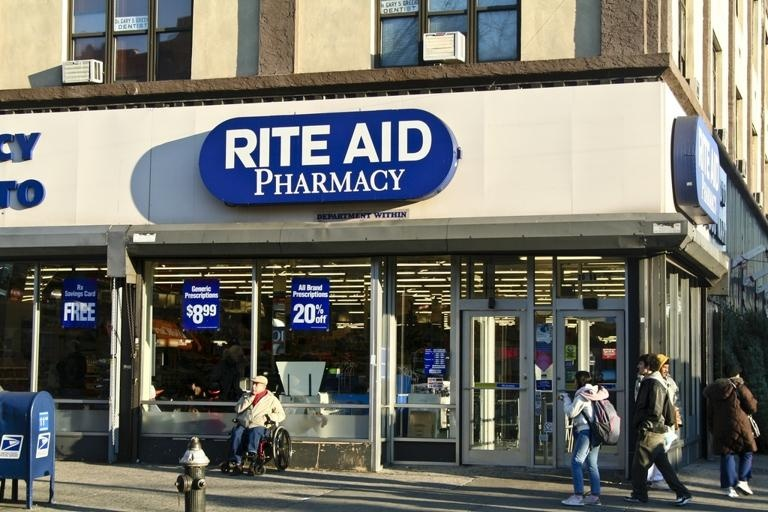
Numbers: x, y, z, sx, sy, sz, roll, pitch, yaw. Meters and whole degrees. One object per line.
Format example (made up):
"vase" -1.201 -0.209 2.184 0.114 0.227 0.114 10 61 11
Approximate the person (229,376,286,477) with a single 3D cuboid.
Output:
"person" -2.556 3.263 26.291 0.996 1.849 0.314 0 -8 -8

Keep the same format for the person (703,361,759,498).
"person" 6.694 3.271 25.999 0.775 2.433 0.994 -1 -4 20

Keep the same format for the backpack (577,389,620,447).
"backpack" 3.939 2.970 24.444 0.582 0.802 0.217 -2 -8 8

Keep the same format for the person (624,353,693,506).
"person" 5.117 3.098 25.001 1.196 2.629 0.931 -2 -4 36
